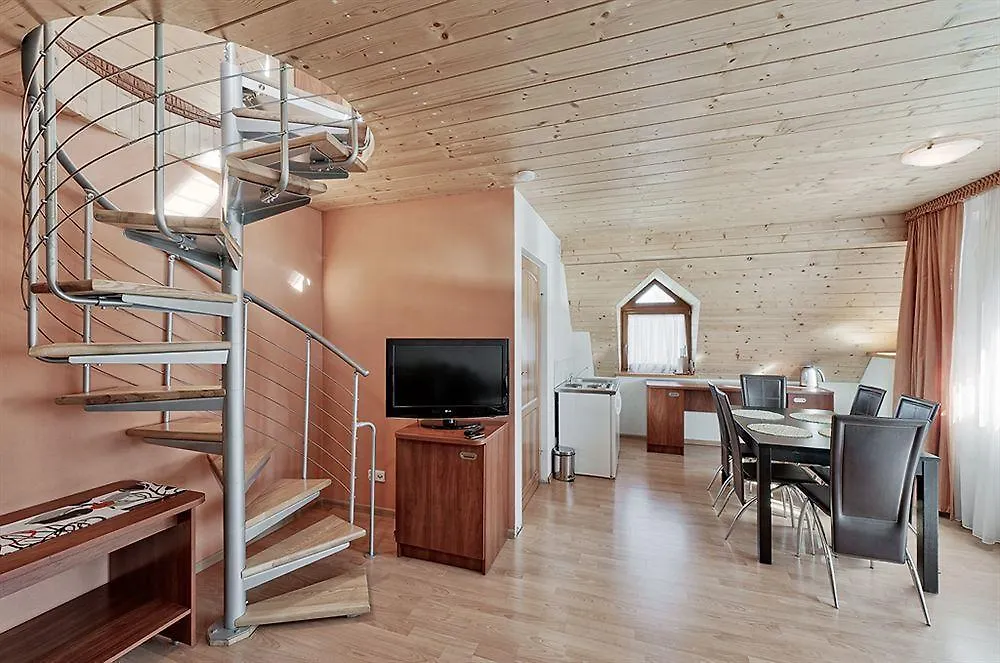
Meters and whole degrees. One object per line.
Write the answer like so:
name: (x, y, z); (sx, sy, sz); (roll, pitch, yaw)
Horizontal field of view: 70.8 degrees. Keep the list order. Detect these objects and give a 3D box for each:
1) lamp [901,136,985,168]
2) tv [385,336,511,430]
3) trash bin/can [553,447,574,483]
lamp: (3.472, -1.402, 5.563); (0.531, 0.112, 0.572); (1, -1, 24)
tv: (-0.428, 0.413, 5.864); (1.211, 0.560, 0.260); (1, 2, -1)
trash bin/can: (0.654, 1.354, 7.279); (0.186, 0.270, 0.244); (3, -1, -30)
